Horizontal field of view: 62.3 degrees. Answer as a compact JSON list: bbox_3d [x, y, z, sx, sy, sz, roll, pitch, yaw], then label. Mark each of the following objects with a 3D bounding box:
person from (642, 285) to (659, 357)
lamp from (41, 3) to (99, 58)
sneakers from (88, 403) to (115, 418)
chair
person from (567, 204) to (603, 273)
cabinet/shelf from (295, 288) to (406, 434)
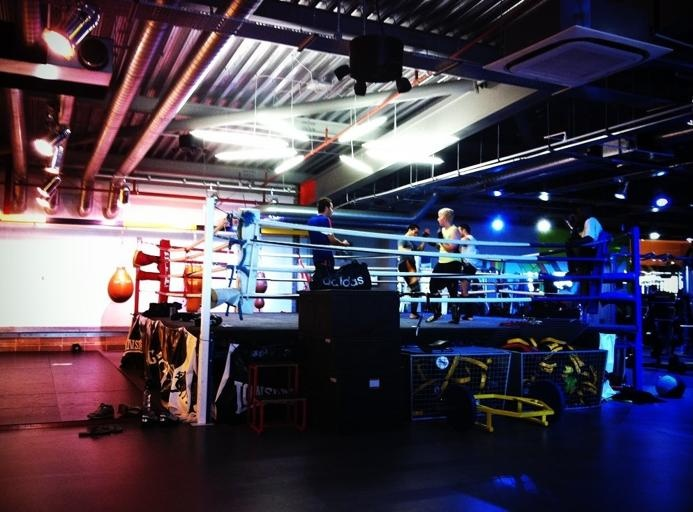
[{"bbox_3d":[6.024,1.310,11.355,0.392,1.478,0.379,10,-7,-40],"label":"person"},{"bbox_3d":[-2.929,-2.408,6.117,0.592,0.468,0.345,6,9,36],"label":"lamp"},{"bbox_3d":[-2.691,1.699,6.305,0.134,0.103,0.238,-6,-18,26],"label":"sneakers"},{"bbox_3d":[-0.774,1.523,6.325,0.644,0.673,0.663,2,-8,-20],"label":"chair"},{"bbox_3d":[3.327,-0.149,8.032,0.455,0.973,1.428,4,8,22],"label":"person"},{"bbox_3d":[0.062,1.085,6.232,1.170,1.446,0.737,1,7,-2],"label":"cabinet/shelf"}]
